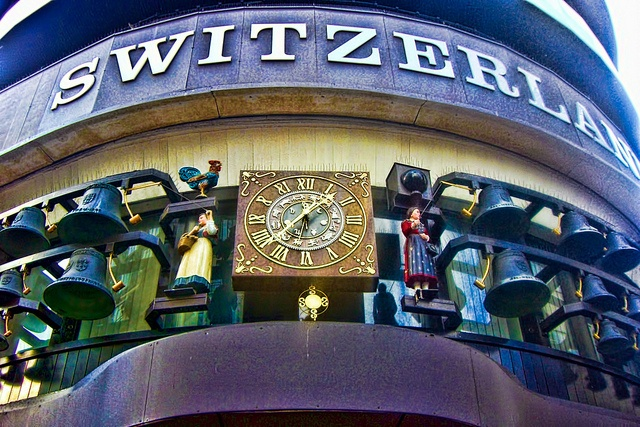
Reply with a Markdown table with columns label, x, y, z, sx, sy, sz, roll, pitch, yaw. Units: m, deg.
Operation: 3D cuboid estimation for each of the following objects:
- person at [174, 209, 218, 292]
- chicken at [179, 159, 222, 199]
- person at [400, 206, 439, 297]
| label | x | y | z | sx | sy | sz | roll | pitch | yaw |
| --- | --- | --- | --- | --- | --- | --- | --- | --- | --- |
| person | -2.998 | 0.866 | 10.542 | 0.872 | 2.046 | 0.546 | -6 | -35 | 8 |
| chicken | -3.389 | -0.957 | 12.463 | 1.197 | 1.211 | 0.420 | -9 | -28 | -4 |
| person | 2.559 | 0.822 | 10.692 | 0.922 | 2.494 | 0.847 | 21 | -41 | -21 |
